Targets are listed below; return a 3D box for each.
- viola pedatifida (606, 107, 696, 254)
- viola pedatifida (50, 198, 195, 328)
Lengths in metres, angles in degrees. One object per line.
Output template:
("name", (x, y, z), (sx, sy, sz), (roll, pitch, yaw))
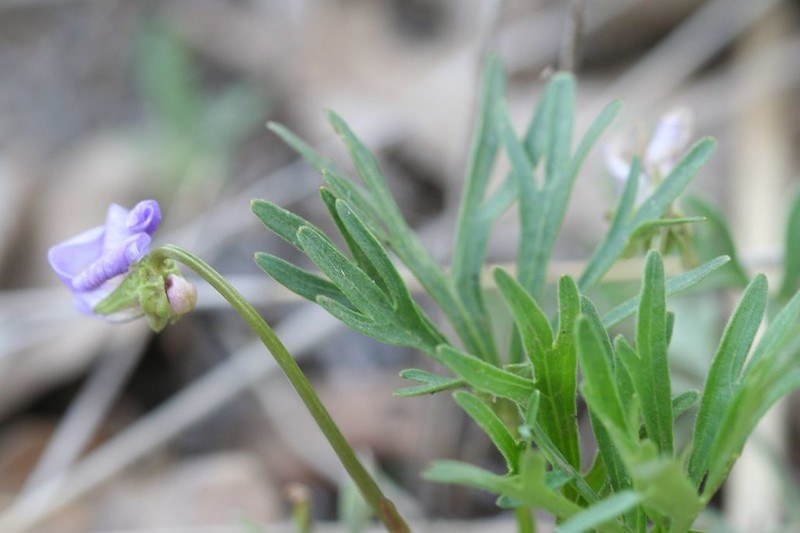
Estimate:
("viola pedatifida", (0.333, -0.138, 1.108), (0.112, 0.095, 0.193), (-3, 36, 15))
("viola pedatifida", (-0.337, 0.009, 1.014), (0.146, 0.130, 0.180), (-22, 39, -32))
